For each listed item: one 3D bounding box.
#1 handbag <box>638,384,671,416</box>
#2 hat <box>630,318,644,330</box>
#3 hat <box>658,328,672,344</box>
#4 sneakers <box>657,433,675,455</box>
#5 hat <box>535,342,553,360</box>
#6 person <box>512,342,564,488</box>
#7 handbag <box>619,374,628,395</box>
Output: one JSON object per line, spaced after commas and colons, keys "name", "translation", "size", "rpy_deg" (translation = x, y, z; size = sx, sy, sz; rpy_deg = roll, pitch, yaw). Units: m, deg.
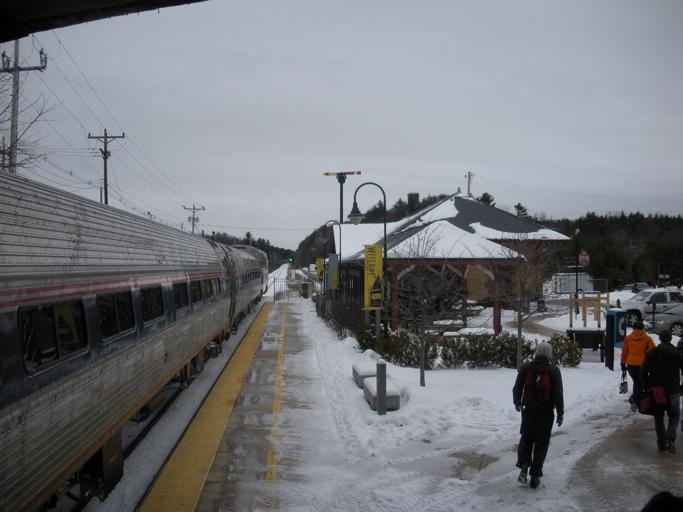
{"name": "handbag", "translation": [4.982, 2.270, 9.498], "size": [0.201, 0.374, 0.363], "rpy_deg": [22, -26, -15]}
{"name": "hat", "translation": [5.525, 1.287, 11.119], "size": [0.161, 0.196, 0.358], "rpy_deg": [-1, 3, 23]}
{"name": "hat", "translation": [5.446, 1.335, 9.986], "size": [0.182, 0.268, 0.247], "rpy_deg": [1, 10, 14]}
{"name": "sneakers", "translation": [5.086, 2.934, 9.364], "size": [0.246, 0.240, 0.211], "rpy_deg": [0, 4, 33]}
{"name": "hat", "translation": [2.946, 1.381, 8.746], "size": [0.209, 0.290, 0.265], "rpy_deg": [6, 2, 15]}
{"name": "person", "translation": [2.823, 2.259, 8.594], "size": [0.666, 2.031, 0.487], "rpy_deg": [-1, 4, 17]}
{"name": "handbag", "translation": [6.053, 2.754, 12.833], "size": [0.150, 0.596, 0.371], "rpy_deg": [-2, 9, 21]}
